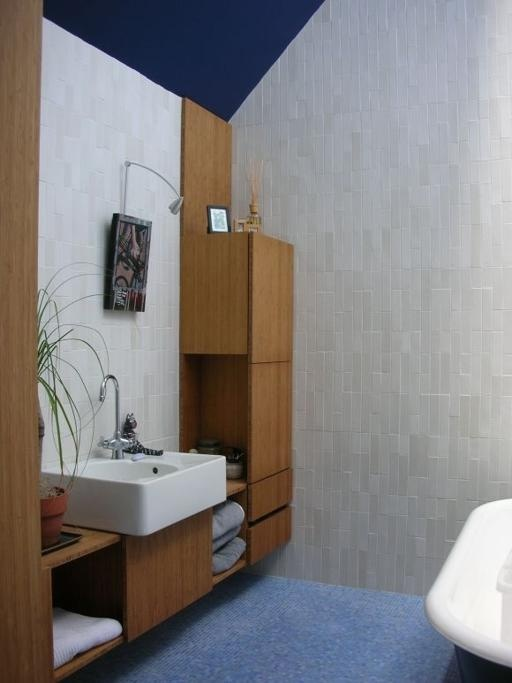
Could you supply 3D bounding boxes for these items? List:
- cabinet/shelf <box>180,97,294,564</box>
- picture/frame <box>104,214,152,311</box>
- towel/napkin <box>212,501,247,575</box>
[{"bbox_3d":[-0.096,-0.063,2.960,0.546,2.520,0.586,-1,-4,19],"label":"cabinet/shelf"},{"bbox_3d":[-0.558,-0.342,2.331,0.038,0.584,0.341,3,0,13],"label":"picture/frame"},{"bbox_3d":[-0.131,0.906,2.514,0.066,0.272,0.210,8,8,21],"label":"towel/napkin"}]
